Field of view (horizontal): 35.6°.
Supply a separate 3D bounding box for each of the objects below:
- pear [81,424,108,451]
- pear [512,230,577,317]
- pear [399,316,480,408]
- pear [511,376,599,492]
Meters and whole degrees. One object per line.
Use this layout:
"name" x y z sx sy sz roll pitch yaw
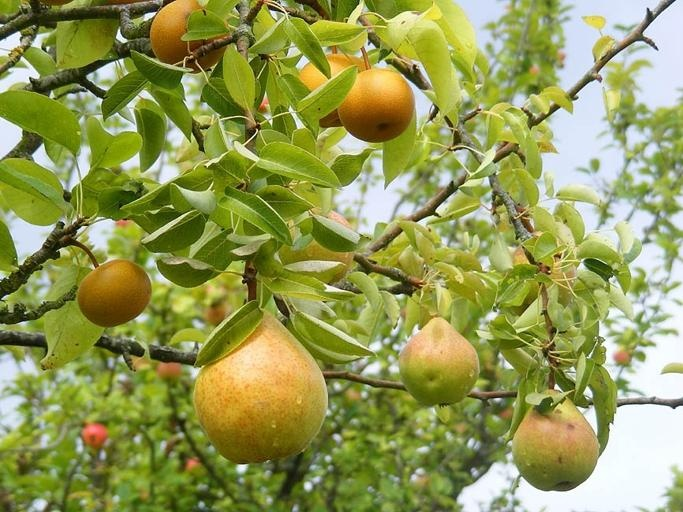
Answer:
"pear" -1.015 0.730 4.366 0.088 0.115 0.104 -3 19 -9
"pear" 0.785 -0.007 4.028 0.204 0.413 0.188 -8 7 -12
"pear" 0.363 0.381 3.917 0.292 0.321 0.171 22 -21 5
"pear" 0.785 0.679 3.875 0.310 0.330 0.142 18 -21 15
